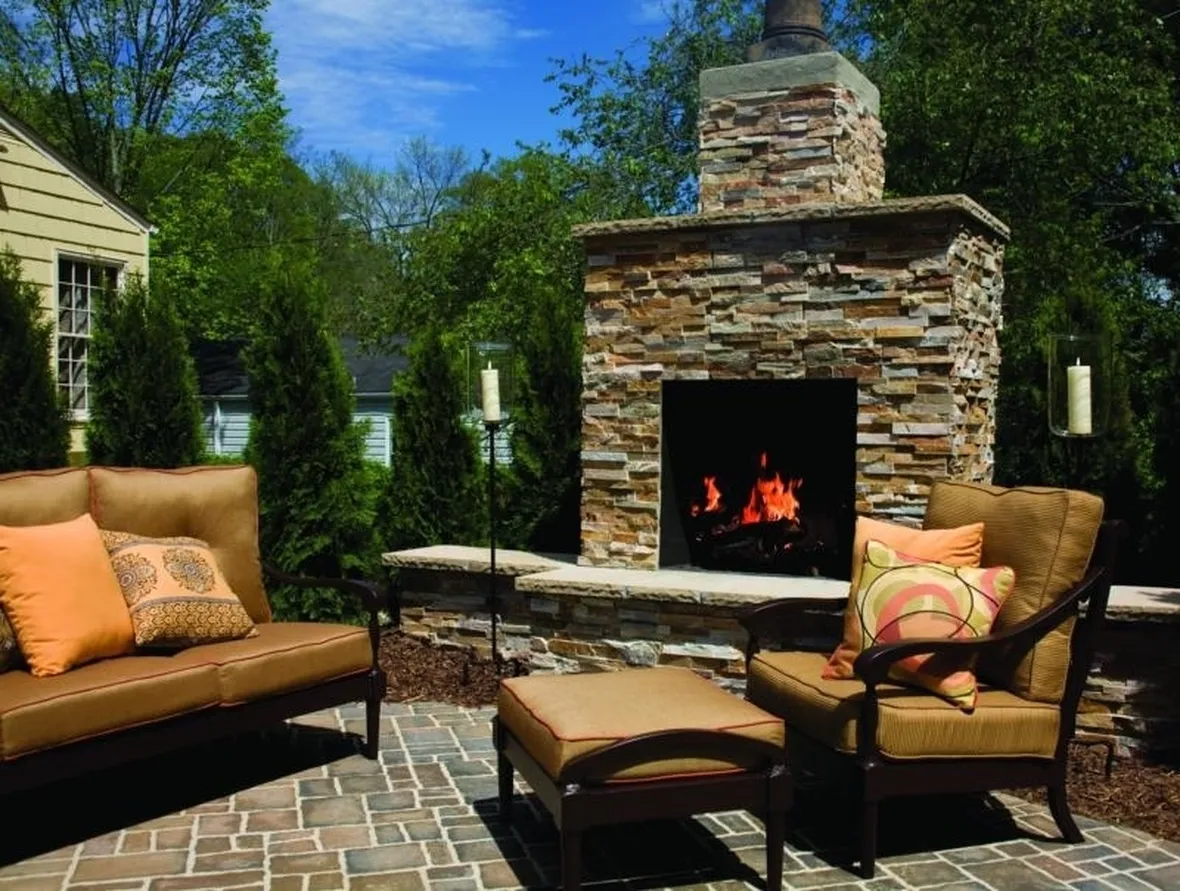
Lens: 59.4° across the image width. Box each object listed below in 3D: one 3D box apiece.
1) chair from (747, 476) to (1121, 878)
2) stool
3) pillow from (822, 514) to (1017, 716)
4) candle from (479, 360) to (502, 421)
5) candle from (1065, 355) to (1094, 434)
[{"bbox_3d":[1.671,1.002,5.199,1.714,1.695,1.900,1,-5,-9],"label":"chair"},{"bbox_3d":[0.219,1.409,4.406,1.001,0.706,1.003,-3,9,-19],"label":"stool"},{"bbox_3d":[1.504,0.706,4.584,0.779,0.760,0.250,2,-24,48],"label":"pillow"},{"bbox_3d":[-0.674,-0.350,6.925,0.140,0.403,0.150,0,10,3],"label":"candle"},{"bbox_3d":[2.571,-0.248,5.402,0.140,0.403,0.180,4,11,20],"label":"candle"}]
